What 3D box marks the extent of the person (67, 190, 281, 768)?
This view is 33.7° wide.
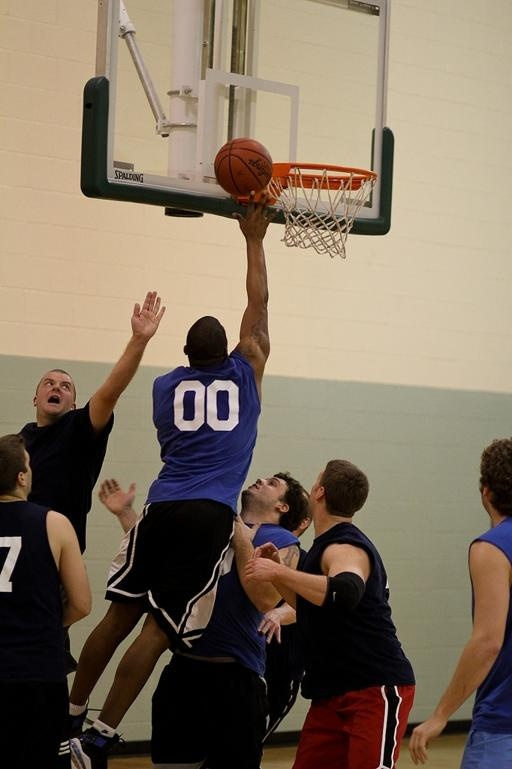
[{"bbox_3d":[-0.224,0.277,3.095,0.488,1.977,0.656,9,5,37],"label":"person"}]
